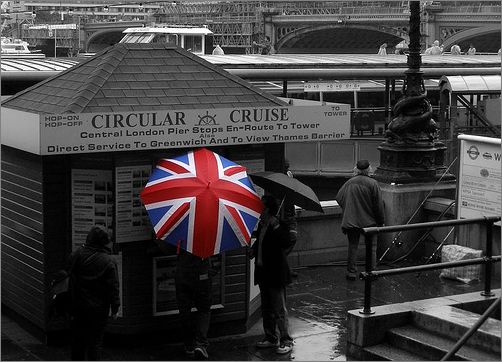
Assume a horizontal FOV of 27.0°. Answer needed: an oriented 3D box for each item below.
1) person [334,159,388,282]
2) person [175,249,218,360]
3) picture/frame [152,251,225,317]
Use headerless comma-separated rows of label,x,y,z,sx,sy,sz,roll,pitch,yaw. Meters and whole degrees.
person,1.790,0.673,17.133,0.768,1.970,0.421,0,5,7
person,-0.776,1.684,14.301,0.509,1.475,0.384,-1,5,-3
picture/frame,-0.909,1.405,14.437,1.045,0.837,0.086,-1,0,-22
